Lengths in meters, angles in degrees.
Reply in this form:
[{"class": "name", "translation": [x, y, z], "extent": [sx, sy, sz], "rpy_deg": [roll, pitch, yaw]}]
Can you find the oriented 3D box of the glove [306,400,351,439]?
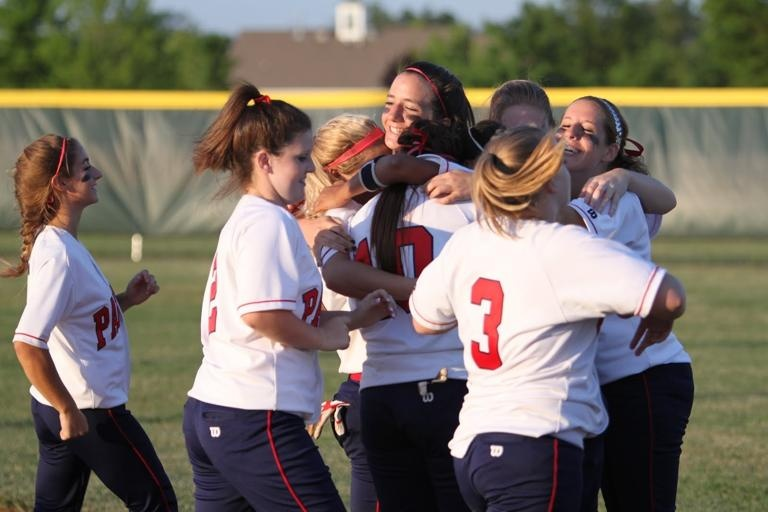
[{"class": "glove", "translation": [-0.659, 1.923, 16.420], "extent": [0.167, 0.528, 0.518], "rpy_deg": [39, 10, -30]}]
